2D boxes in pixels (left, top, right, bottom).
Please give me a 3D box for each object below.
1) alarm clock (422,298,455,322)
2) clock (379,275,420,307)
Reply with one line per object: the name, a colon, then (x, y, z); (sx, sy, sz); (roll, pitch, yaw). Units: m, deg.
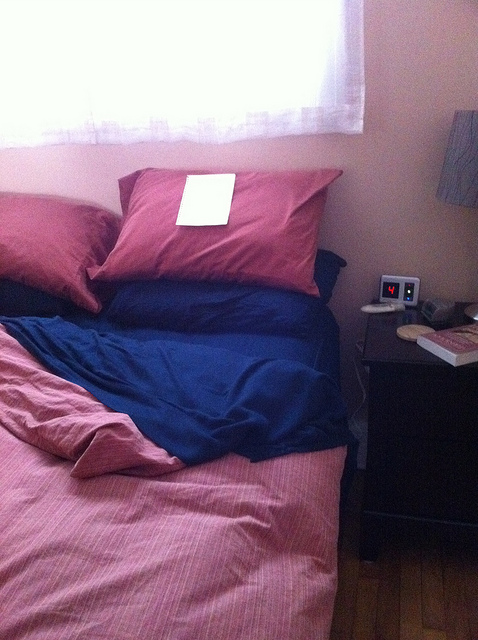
alarm clock: (0.593, -0.037, 1.467); (0.072, 0.034, 0.073); (-2, 19, 0)
clock: (0.551, -0.097, 1.690); (0.095, 0.081, 0.049); (10, 9, 27)
